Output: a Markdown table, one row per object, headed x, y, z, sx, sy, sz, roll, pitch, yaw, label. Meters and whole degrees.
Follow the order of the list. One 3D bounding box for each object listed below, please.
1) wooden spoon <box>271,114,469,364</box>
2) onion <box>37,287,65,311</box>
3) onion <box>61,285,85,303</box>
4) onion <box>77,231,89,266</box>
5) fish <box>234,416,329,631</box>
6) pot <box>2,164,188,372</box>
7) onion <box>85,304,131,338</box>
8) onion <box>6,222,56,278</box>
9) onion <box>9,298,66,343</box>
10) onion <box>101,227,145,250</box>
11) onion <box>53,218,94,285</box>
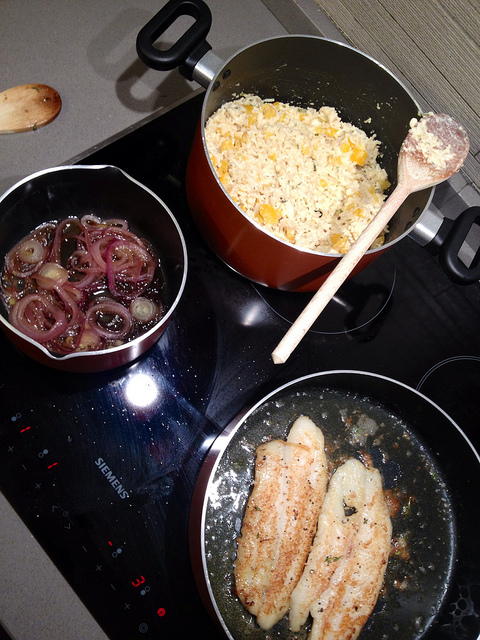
| x | y | z | sx | sy | sz | roll | pitch | yaw | label |
| --- | --- | --- | --- | --- | --- | --- | --- | --- | --- |
| 0.176 | -0.047 | 0.882 | 0.086 | 0.291 | 0.471 | 28 | 62 | 11 | wooden spoon |
| -0.284 | -0.035 | 0.901 | 0.040 | 0.012 | 0.029 | 46 | 25 | -6 | onion |
| -0.249 | -0.036 | 0.908 | 0.028 | 0.010 | 0.021 | 45 | 50 | -12 | onion |
| -0.246 | -0.116 | 0.945 | 0.029 | 0.014 | 0.043 | -1 | 87 | -5 | onion |
| 0.055 | 0.285 | 0.892 | 0.124 | 0.071 | 0.289 | 21 | 61 | 5 | fish |
| -0.229 | -0.066 | 0.928 | 0.284 | 0.121 | 0.330 | -6 | 79 | -22 | pot |
| -0.197 | 0.000 | 0.904 | 0.064 | 0.021 | 0.050 | 23 | 61 | 6 | onion |
| -0.321 | -0.104 | 0.923 | 0.053 | 0.015 | 0.094 | 37 | 68 | -19 | onion |
| -0.285 | 0.007 | 0.866 | 0.057 | 0.023 | 0.071 | -30 | 72 | -27 | onion |
| -0.187 | -0.141 | 0.962 | 0.051 | 0.015 | 0.038 | 30 | 59 | -6 | onion |
| -0.263 | -0.097 | 0.945 | 0.058 | 0.017 | 0.110 | 4 | 78 | -22 | onion |
